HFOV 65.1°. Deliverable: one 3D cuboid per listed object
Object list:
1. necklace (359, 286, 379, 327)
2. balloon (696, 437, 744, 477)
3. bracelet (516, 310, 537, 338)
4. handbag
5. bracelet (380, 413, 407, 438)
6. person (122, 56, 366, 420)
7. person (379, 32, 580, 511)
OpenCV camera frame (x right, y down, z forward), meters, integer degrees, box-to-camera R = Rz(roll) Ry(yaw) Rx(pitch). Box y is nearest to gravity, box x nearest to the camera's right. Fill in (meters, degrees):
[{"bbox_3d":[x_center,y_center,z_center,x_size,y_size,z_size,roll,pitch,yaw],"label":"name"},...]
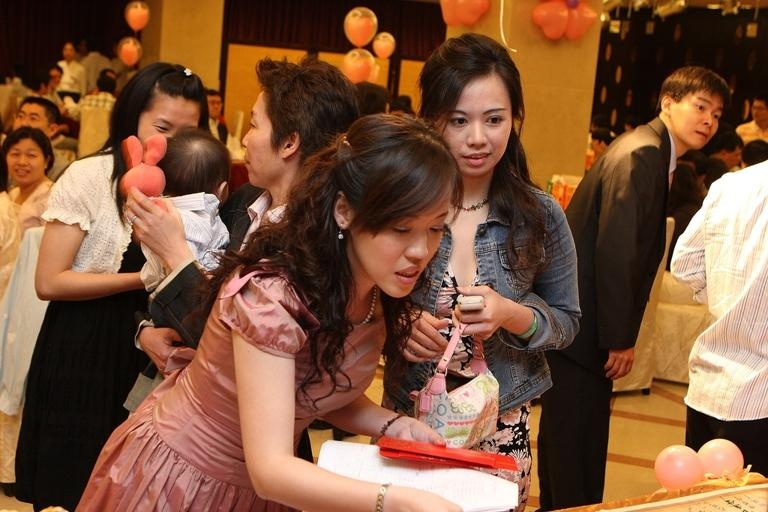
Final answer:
[{"bbox_3d":[-0.035,0.141,1.696,0.019,0.089,0.063,9,20,-12],"label":"necklace"},{"bbox_3d":[1.039,0.617,1.871,0.101,0.128,0.104,-8,15,-22],"label":"balloon"},{"bbox_3d":[0.480,0.226,2.060,0.063,0.084,0.032,-1,-17,-41],"label":"bracelet"},{"bbox_3d":[0.246,0.392,1.894,0.307,0.393,0.171,-6,7,-36],"label":"handbag"},{"bbox_3d":[0.015,0.496,1.777,0.021,0.054,0.069,39,10,-4],"label":"bracelet"},{"bbox_3d":[-0.481,-0.066,2.093,0.750,1.282,0.645,6,4,40],"label":"person"},{"bbox_3d":[0.337,0.060,2.134,0.718,1.694,0.417,1,3,-30],"label":"person"}]
